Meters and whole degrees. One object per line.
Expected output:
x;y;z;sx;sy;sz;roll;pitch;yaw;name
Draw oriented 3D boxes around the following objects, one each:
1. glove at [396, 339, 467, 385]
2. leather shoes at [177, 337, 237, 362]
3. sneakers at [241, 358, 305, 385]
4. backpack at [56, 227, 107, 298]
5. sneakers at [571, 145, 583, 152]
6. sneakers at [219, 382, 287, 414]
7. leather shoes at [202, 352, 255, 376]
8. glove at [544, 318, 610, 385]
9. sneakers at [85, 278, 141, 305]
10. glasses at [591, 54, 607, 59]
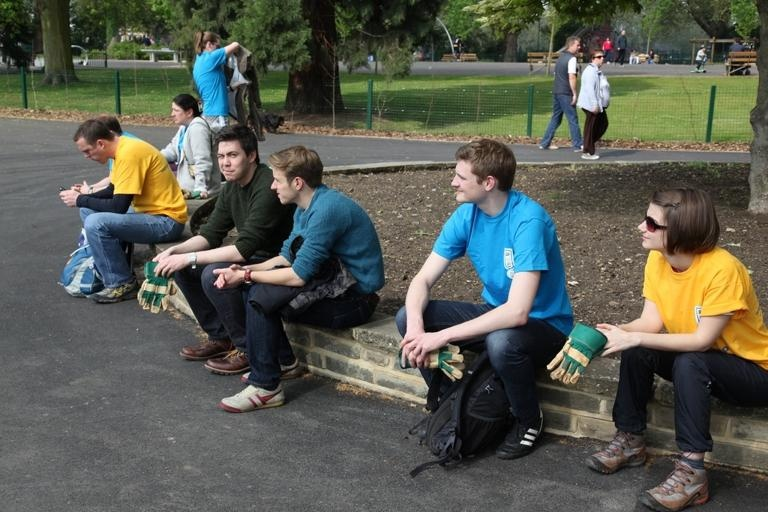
0.402;0.753;5.099;0.306;0.201;0.136;6;5;26;glove
-1.584;0.818;6.431;0.524;0.227;0.190;3;10;-24;leather shoes
-0.933;0.938;6.045;0.556;0.217;0.196;0;3;-37;sneakers
-3.312;0.112;7.708;0.577;0.740;0.259;7;-16;-37;backpack
4.301;-2.403;16.052;0.299;0.128;0.101;0;23;-5;sneakers
-1.051;1.129;5.752;0.553;0.235;0.193;1;4;-16;sneakers
-1.329;0.928;6.184;0.465;0.197;0.177;5;0;-15;leather shoes
1.356;0.693;5.028;0.324;0.466;0.200;40;3;20;glove
-2.801;0.386;7.508;0.586;0.267;0.195;-14;56;-30;sneakers
4.393;-4.116;14.765;0.114;0.116;0.378;-6;15;-16;glasses
